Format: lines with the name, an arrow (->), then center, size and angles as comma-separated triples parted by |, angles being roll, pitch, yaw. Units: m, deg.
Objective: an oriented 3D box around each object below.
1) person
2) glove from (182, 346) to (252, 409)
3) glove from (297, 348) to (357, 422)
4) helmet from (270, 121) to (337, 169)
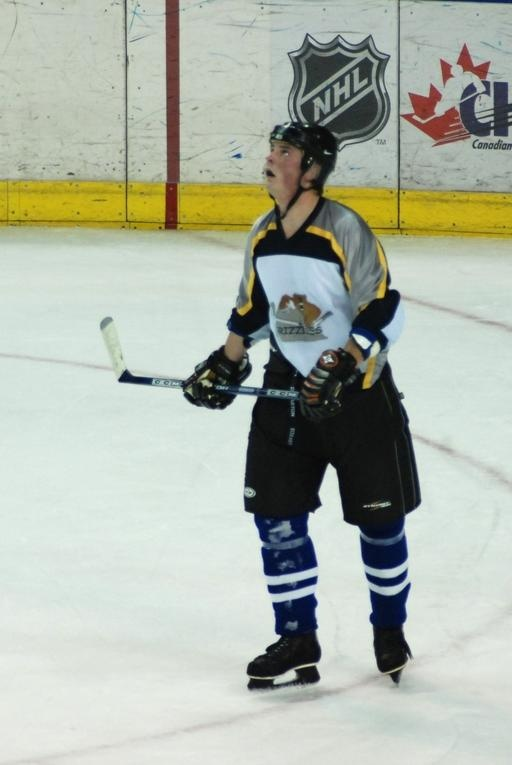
person -> 0.102, 0.020, 1.714 | 0.418, 1.059, 0.467 | -2, 10, -4
glove -> -0.100, -0.011, 1.880 | 0.066, 0.123, 0.155 | 40, 16, 0
glove -> 0.130, -0.003, 1.561 | 0.061, 0.130, 0.092 | 33, -23, 20
helmet -> 0.104, -0.455, 1.707 | 0.121, 0.082, 0.089 | 12, 6, -28
